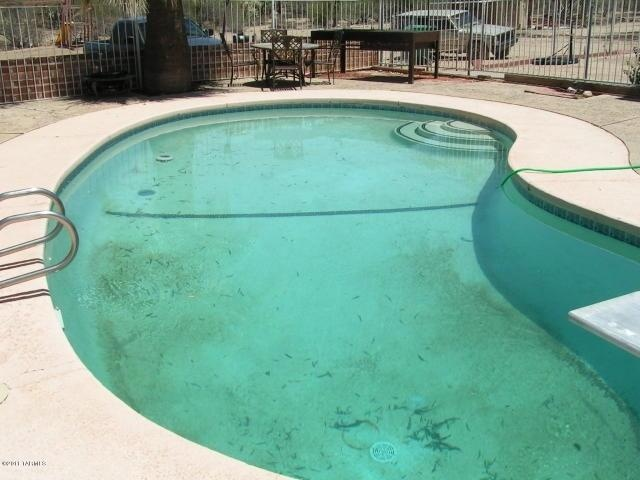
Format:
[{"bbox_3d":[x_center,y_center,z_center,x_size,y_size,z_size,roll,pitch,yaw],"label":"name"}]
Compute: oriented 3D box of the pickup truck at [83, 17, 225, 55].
[{"bbox_3d":[-3.816,-4.529,10.477,2.201,0.692,1.126,-2,33,1],"label":"pickup truck"}]
